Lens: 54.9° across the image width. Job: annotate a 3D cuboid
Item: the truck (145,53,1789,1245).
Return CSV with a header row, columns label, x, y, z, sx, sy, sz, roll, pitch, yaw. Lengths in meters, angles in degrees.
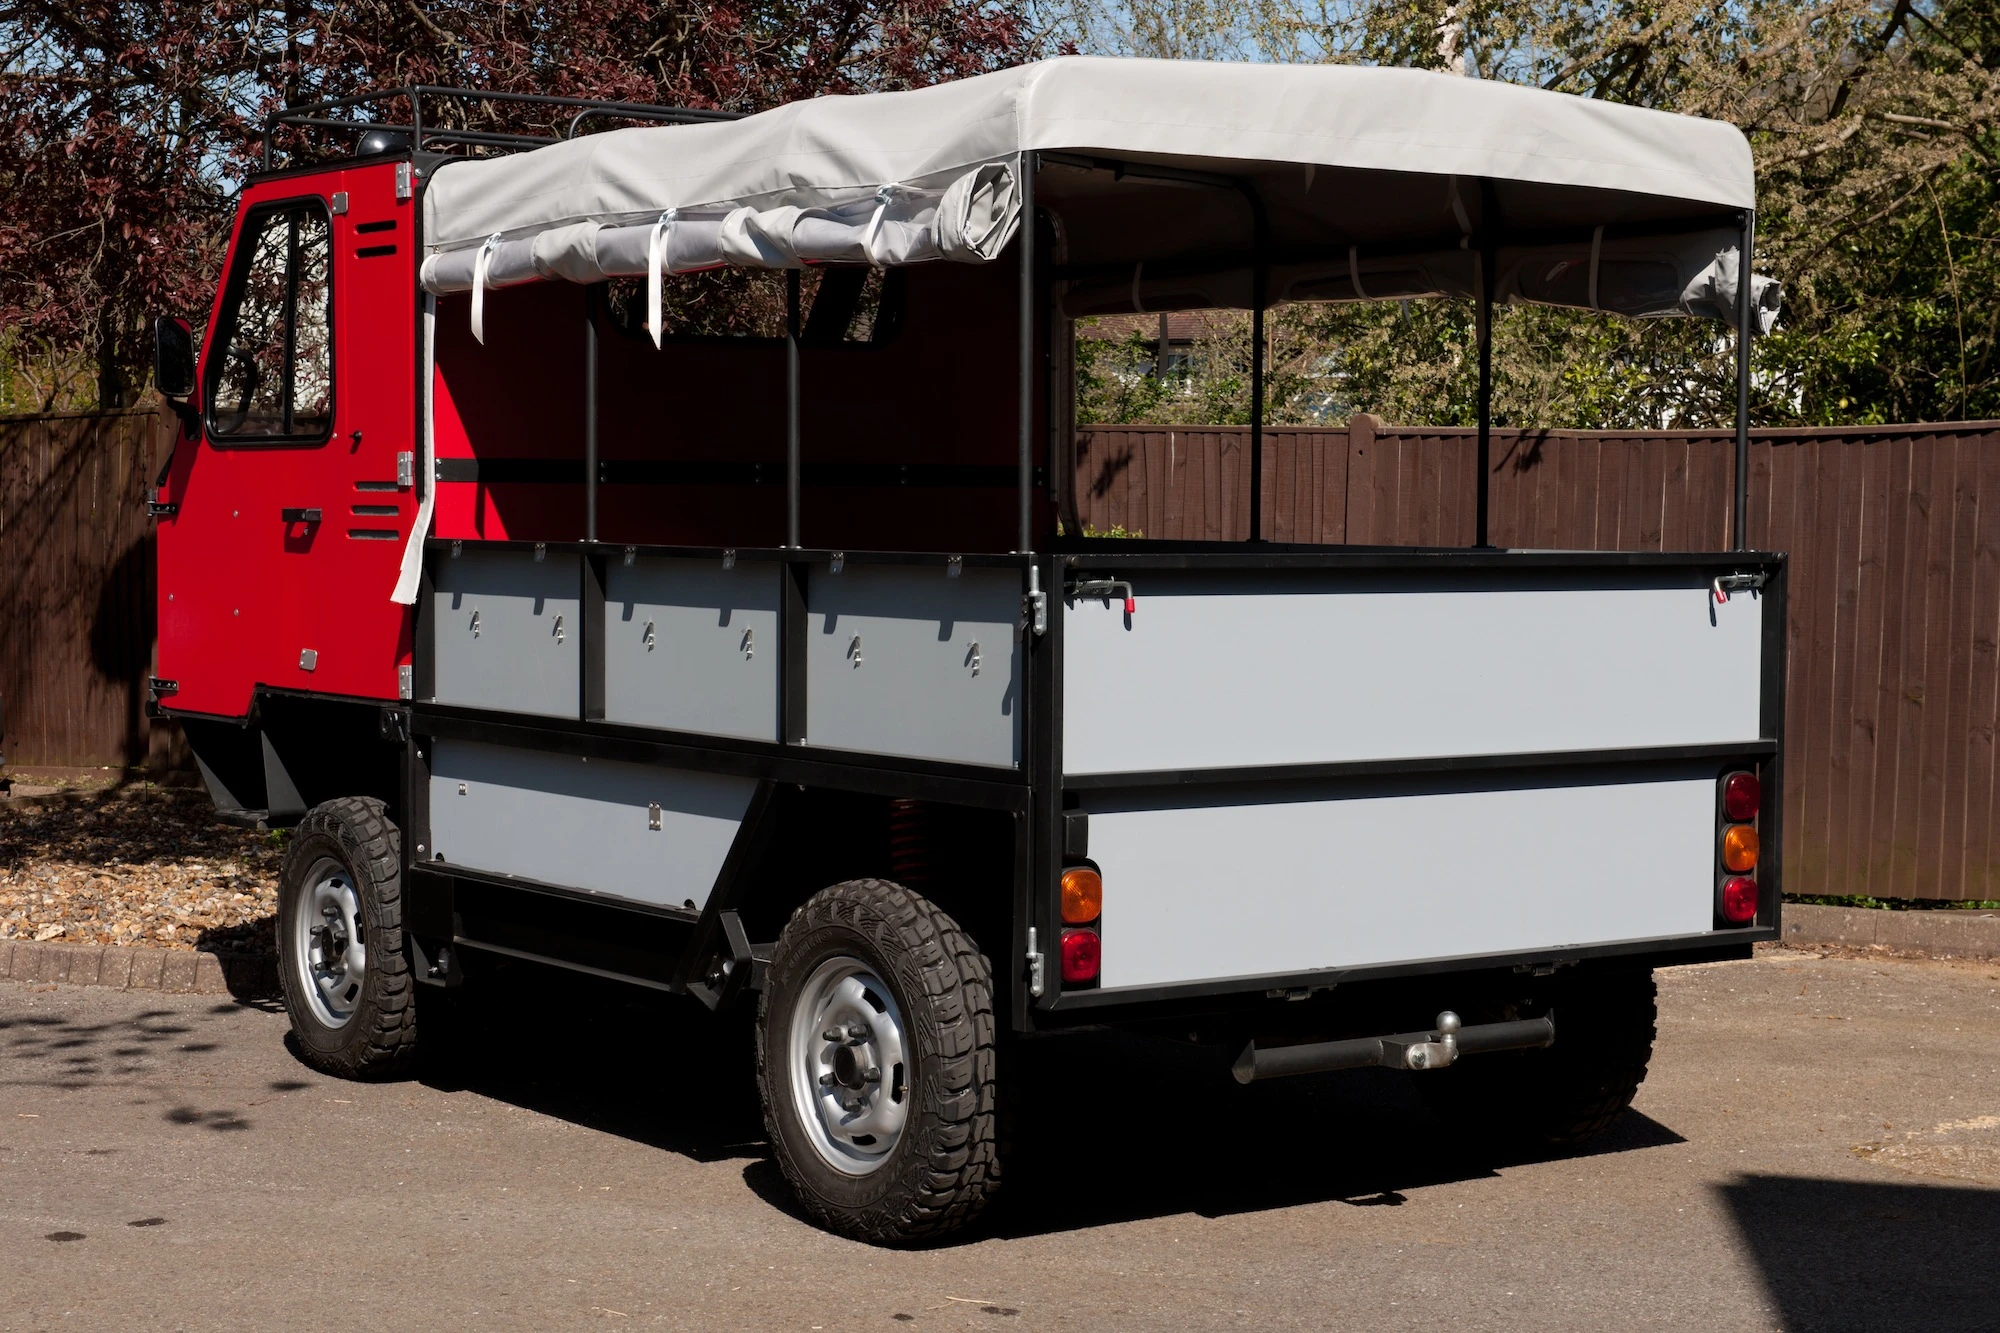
label,x,y,z,sx,sy,sz,roll,pitch,yaw
truck,-0.633,-0.072,8.894,4.297,4.801,6.912,1,3,-38
